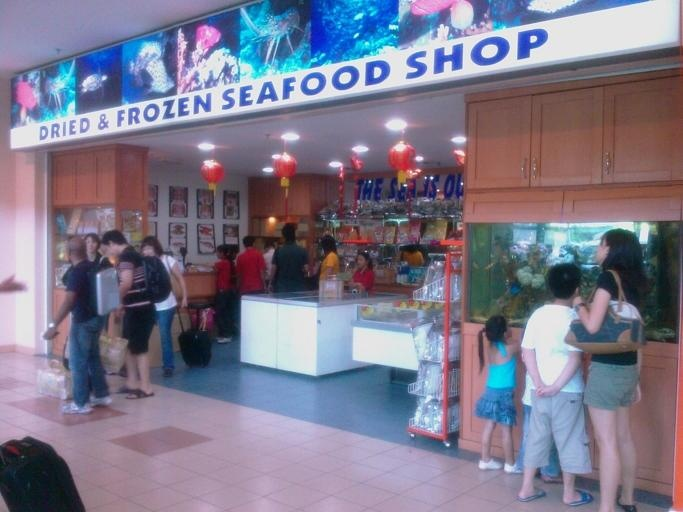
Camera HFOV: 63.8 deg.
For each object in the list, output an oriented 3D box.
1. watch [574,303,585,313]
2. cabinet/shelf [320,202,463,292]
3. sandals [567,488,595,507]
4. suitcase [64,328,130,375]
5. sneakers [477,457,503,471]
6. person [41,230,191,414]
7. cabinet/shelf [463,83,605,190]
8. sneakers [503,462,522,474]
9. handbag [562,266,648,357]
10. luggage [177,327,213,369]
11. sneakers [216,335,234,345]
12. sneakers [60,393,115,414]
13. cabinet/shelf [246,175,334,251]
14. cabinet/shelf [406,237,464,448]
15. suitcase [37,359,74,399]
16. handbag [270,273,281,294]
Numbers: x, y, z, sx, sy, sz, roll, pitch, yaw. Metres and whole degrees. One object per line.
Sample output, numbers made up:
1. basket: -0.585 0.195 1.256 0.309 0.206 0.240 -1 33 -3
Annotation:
1. watch: 1.732 0.367 3.995 0.071 0.051 0.072 -1 4 15
2. cabinet/shelf: 1.018 -0.147 10.907 2.790 1.628 0.855 0 7 15
3. sandals: 1.811 1.825 4.176 0.180 0.054 0.101 -6 5 -21
4. suitcase: -2.949 1.188 6.758 0.656 0.423 0.239 2 4 9
5. sneakers: 1.251 1.746 4.676 0.178 0.076 0.091 -2 4 -26
6. person: -2.583 0.675 6.202 0.501 1.947 1.438 2 4 26
7. cabinet/shelf: 1.764 -1.021 4.856 0.461 0.855 1.325 -7 10 -39
8. sneakers: 1.420 1.760 4.593 0.130 0.059 0.075 -5 6 -30
9. handbag: 1.868 0.400 3.903 0.614 0.781 0.335 -4 -10 36
10. luggage: -2.082 1.285 7.889 0.402 0.540 0.294 -4 5 25
11. sneakers: -2.032 1.436 9.609 0.102 0.128 0.279 -6 -11 42
12. sneakers: -2.783 1.607 5.986 0.497 0.213 0.181 3 -3 -25
13. cabinet/shelf: -1.017 -0.962 11.446 1.649 1.527 0.554 2 1 42
14. cabinet/shelf: 0.863 0.788 5.287 0.530 1.886 0.532 1 2 3
15. suitcase: -3.341 1.411 6.428 0.484 0.397 0.192 4 6 22
16. handbag: -1.072 0.416 8.762 0.098 0.359 0.688 0 4 -12
